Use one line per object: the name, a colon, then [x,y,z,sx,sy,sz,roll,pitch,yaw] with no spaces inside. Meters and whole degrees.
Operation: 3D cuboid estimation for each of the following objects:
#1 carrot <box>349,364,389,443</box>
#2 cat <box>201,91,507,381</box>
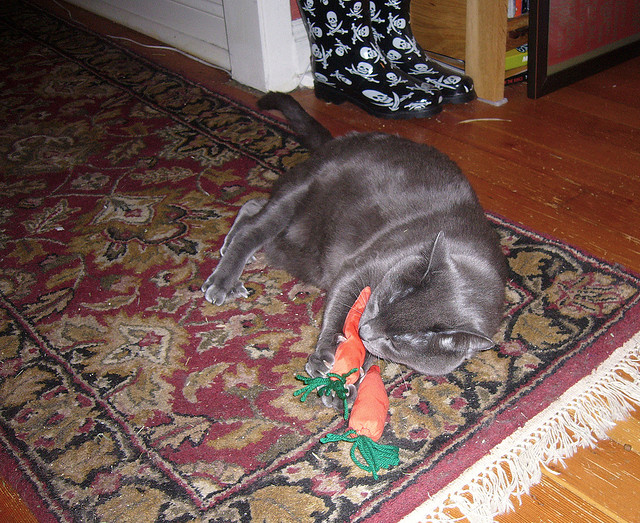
carrot: [0.137,0.335,1.416,0.089,0.055,0.177,2,28,17]
cat: [0.110,-0.086,1.785,0.748,0.573,0.735,-14,78,-41]
